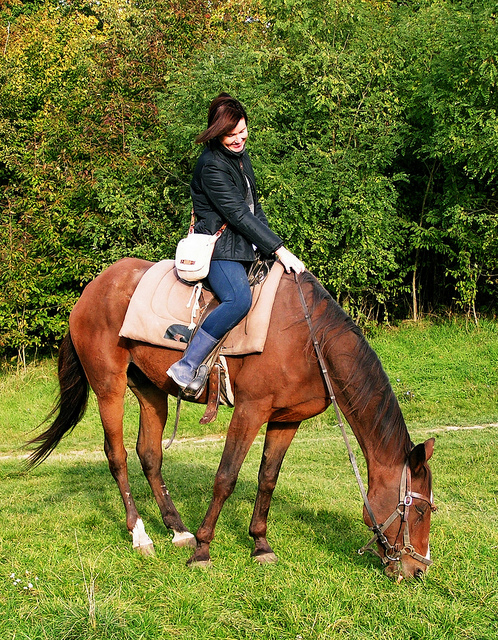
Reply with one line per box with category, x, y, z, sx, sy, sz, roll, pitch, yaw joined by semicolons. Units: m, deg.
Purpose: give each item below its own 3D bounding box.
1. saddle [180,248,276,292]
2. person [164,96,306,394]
saddle;-0.213;-0.382;5.094;0.686;0.311;0.530;22;28;39
person;-0.159;-0.539;5.049;0.958;2.127;0.588;-1;3;-13
